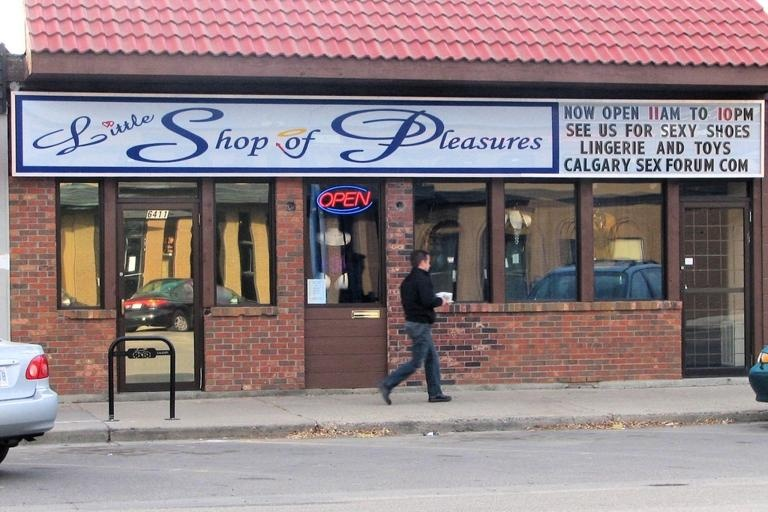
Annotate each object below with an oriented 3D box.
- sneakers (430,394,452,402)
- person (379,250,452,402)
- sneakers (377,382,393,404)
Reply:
[{"bbox_3d":[0.954,2.346,27.161,0.319,0.117,0.138,-2,1,-10],"label":"sneakers"},{"bbox_3d":[0.529,1.145,27.037,1.198,2.556,0.728,0,-4,-16],"label":"person"},{"bbox_3d":[0.014,2.249,26.926,0.155,0.396,0.175,-8,10,31],"label":"sneakers"}]
